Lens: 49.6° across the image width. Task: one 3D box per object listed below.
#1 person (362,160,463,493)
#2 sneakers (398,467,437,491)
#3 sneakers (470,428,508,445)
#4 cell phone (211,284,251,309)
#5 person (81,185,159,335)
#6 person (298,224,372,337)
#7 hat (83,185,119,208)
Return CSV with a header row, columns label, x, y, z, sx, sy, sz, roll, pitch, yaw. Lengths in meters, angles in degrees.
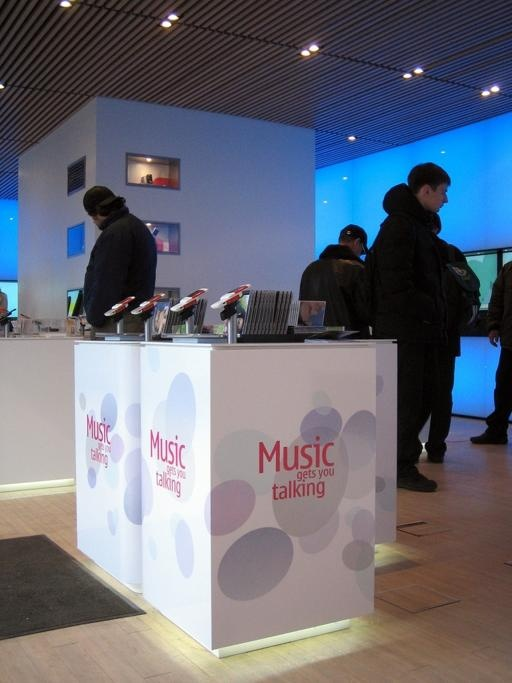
label,x,y,z,sx,sy,sz,roll,pitch,yaw
person,0.925,-0.121,3.409,0.452,2.048,0.811,-4,-6,42
sneakers,0.979,0.831,3.395,0.108,0.115,0.236,2,-6,-35
sneakers,2.234,0.921,5.353,0.381,0.175,0.135,3,-10,4
cell phone,-0.062,-0.112,1.392,0.083,0.029,0.073,-29,14,-23
person,-0.791,-0.519,3.223,0.439,0.970,0.650,1,-5,-18
person,0.583,-0.515,4.173,0.532,0.935,1.149,-1,-5,11
hat,-0.937,-0.854,3.344,0.175,0.108,0.132,-2,27,36
